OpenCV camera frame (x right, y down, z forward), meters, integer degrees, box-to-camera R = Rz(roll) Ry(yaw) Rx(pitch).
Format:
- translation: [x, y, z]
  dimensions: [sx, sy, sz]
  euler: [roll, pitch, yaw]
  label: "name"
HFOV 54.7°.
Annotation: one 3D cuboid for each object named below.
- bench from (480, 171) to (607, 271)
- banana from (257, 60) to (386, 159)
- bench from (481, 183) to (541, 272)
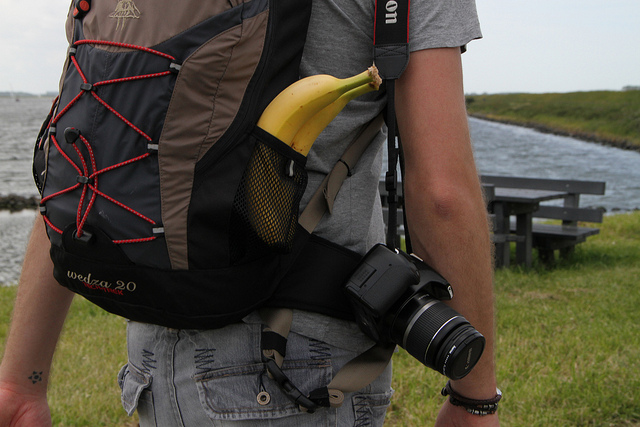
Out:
- translation: [1.439, -0.060, 4.340]
  dimensions: [0.411, 0.548, 1.035]
  euler: [-8, 14, -22]
  label: "bench"
- translation: [0.025, -0.347, 2.213]
  dimensions: [0.444, 0.125, 0.232]
  euler: [-31, 20, 5]
  label: "banana"
- translation: [1.531, 0.107, 4.879]
  dimensions: [0.405, 0.331, 0.632]
  euler: [-16, 21, -37]
  label: "bench"
